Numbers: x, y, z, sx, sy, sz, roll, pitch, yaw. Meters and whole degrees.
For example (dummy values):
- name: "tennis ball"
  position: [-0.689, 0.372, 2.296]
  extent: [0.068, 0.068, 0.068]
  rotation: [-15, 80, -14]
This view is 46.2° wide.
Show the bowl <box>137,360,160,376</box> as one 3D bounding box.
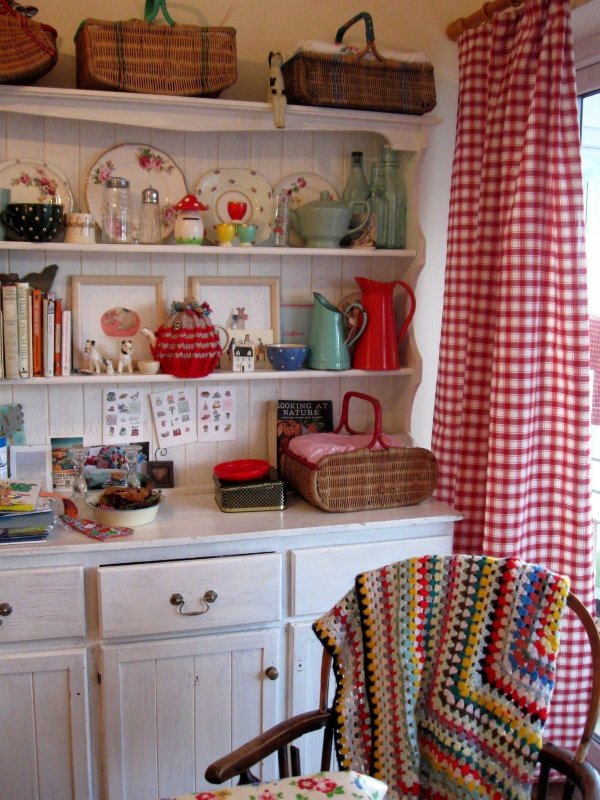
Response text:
- name: "bowl"
  position: [-0.415, -0.087, 1.915]
  extent: [0.045, 0.028, 0.041]
  rotation: [3, 0, 0]

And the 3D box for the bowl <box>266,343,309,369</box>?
- name: "bowl"
  position: [-0.034, -0.123, 1.992]
  extent: [0.086, 0.052, 0.085]
  rotation: [3, 7, 0]

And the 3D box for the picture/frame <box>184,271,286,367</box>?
- name: "picture/frame"
  position: [-0.200, -0.232, 2.024]
  extent: [0.289, 0.306, 0.024]
  rotation: [-2, 7, -11]

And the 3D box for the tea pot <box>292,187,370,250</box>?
- name: "tea pot"
  position: [0.088, -0.503, 1.957]
  extent: [0.193, 0.134, 0.150]
  rotation: [1, 11, 10]

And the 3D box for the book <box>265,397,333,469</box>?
- name: "book"
  position: [-0.012, 0.103, 2.049]
  extent: [0.216, 0.266, 0.034]
  rotation: [1, -1, -11]

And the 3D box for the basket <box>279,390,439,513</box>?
- name: "basket"
  position: [0.160, 0.147, 1.903]
  extent: [0.362, 0.271, 0.339]
  rotation: [0, 0, -14]

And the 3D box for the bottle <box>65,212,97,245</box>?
- name: "bottle"
  position: [-0.563, -0.433, 1.816]
  extent: [0.093, 0.094, 0.093]
  rotation: [-5, 15, -36]

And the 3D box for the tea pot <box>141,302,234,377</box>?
- name: "tea pot"
  position: [-0.303, -0.161, 1.907]
  extent: [0.238, 0.187, 0.168]
  rotation: [6, 6, 16]
